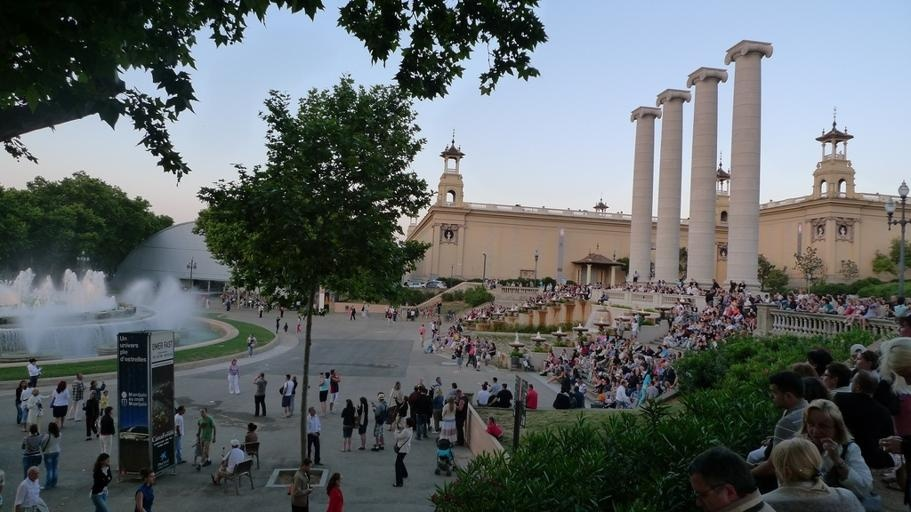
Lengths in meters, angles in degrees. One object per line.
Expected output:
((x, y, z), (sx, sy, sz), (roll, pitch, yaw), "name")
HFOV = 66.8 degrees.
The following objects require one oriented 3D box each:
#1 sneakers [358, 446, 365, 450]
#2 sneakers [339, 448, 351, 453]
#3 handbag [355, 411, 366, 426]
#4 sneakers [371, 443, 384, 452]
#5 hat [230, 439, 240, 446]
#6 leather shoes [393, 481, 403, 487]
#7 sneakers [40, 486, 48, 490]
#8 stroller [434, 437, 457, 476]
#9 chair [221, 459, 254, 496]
((-3.758, 7.695, 27.643), (0.116, 0.109, 0.305), (2, 0, -42), "sneakers")
((-4.349, 7.674, 27.284), (0.404, 0.150, 0.135), (0, -5, 31), "sneakers")
((-3.818, 6.600, 27.995), (0.511, 0.369, 0.537), (2, -3, -21), "handbag")
((-3.137, 7.680, 27.688), (0.205, 0.225, 0.589), (-1, 2, -41), "sneakers")
((-7.753, 6.594, 24.300), (0.218, 0.265, 0.619), (2, -6, -23), "hat")
((-2.024, 8.049, 24.285), (0.392, 0.149, 0.283), (0, -5, 5), "leather shoes")
((-13.957, 7.940, 23.554), (0.245, 0.091, 0.124), (-2, -6, 22), "sneakers")
((-0.424, 7.379, 25.382), (0.660, 1.392, 0.779), (1, -6, -7), "stroller")
((-7.590, 7.666, 24.308), (1.005, 1.107, 1.296), (2, -6, -19), "chair")
